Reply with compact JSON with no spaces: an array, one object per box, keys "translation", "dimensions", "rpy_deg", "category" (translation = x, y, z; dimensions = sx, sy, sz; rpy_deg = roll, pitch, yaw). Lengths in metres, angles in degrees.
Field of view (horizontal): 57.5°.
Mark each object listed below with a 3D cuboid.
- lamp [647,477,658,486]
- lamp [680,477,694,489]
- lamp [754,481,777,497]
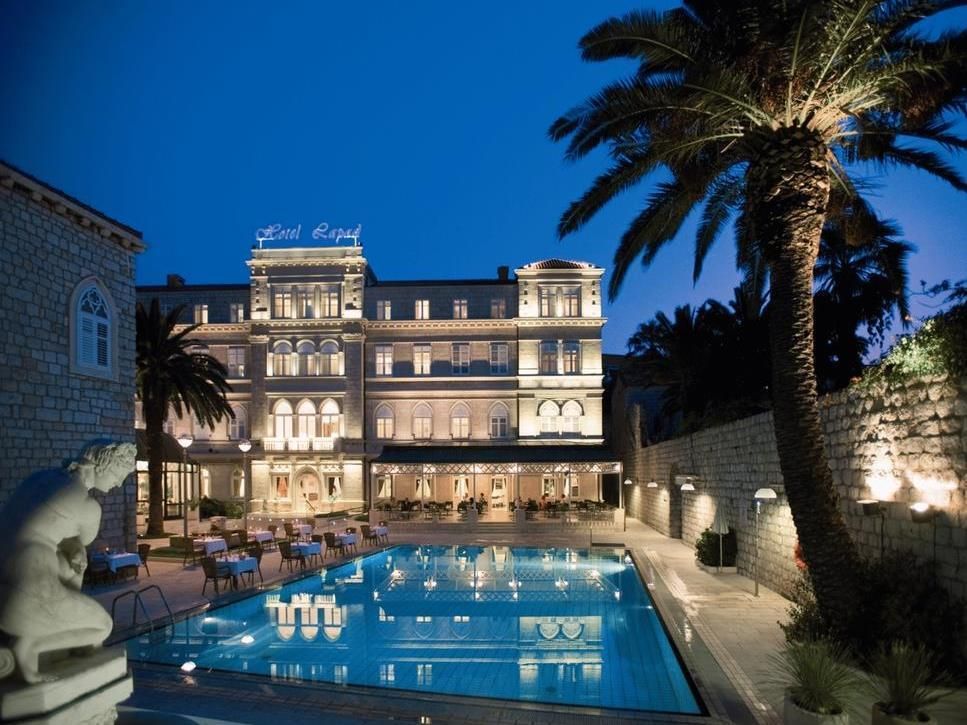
[{"translation":[6.863,4.792,35.449],"dimensions":[0.285,0.219,0.305],"rpy_deg":[0,-10,-7],"category":"lamp"},{"translation":[6.713,3.973,28.756],"dimensions":[0.413,0.436,0.427],"rpy_deg":[1,-7,-28],"category":"lamp"},{"translation":[6.754,3.056,21.054],"dimensions":[0.375,0.260,0.401],"rpy_deg":[0,-10,-6],"category":"lamp"}]
